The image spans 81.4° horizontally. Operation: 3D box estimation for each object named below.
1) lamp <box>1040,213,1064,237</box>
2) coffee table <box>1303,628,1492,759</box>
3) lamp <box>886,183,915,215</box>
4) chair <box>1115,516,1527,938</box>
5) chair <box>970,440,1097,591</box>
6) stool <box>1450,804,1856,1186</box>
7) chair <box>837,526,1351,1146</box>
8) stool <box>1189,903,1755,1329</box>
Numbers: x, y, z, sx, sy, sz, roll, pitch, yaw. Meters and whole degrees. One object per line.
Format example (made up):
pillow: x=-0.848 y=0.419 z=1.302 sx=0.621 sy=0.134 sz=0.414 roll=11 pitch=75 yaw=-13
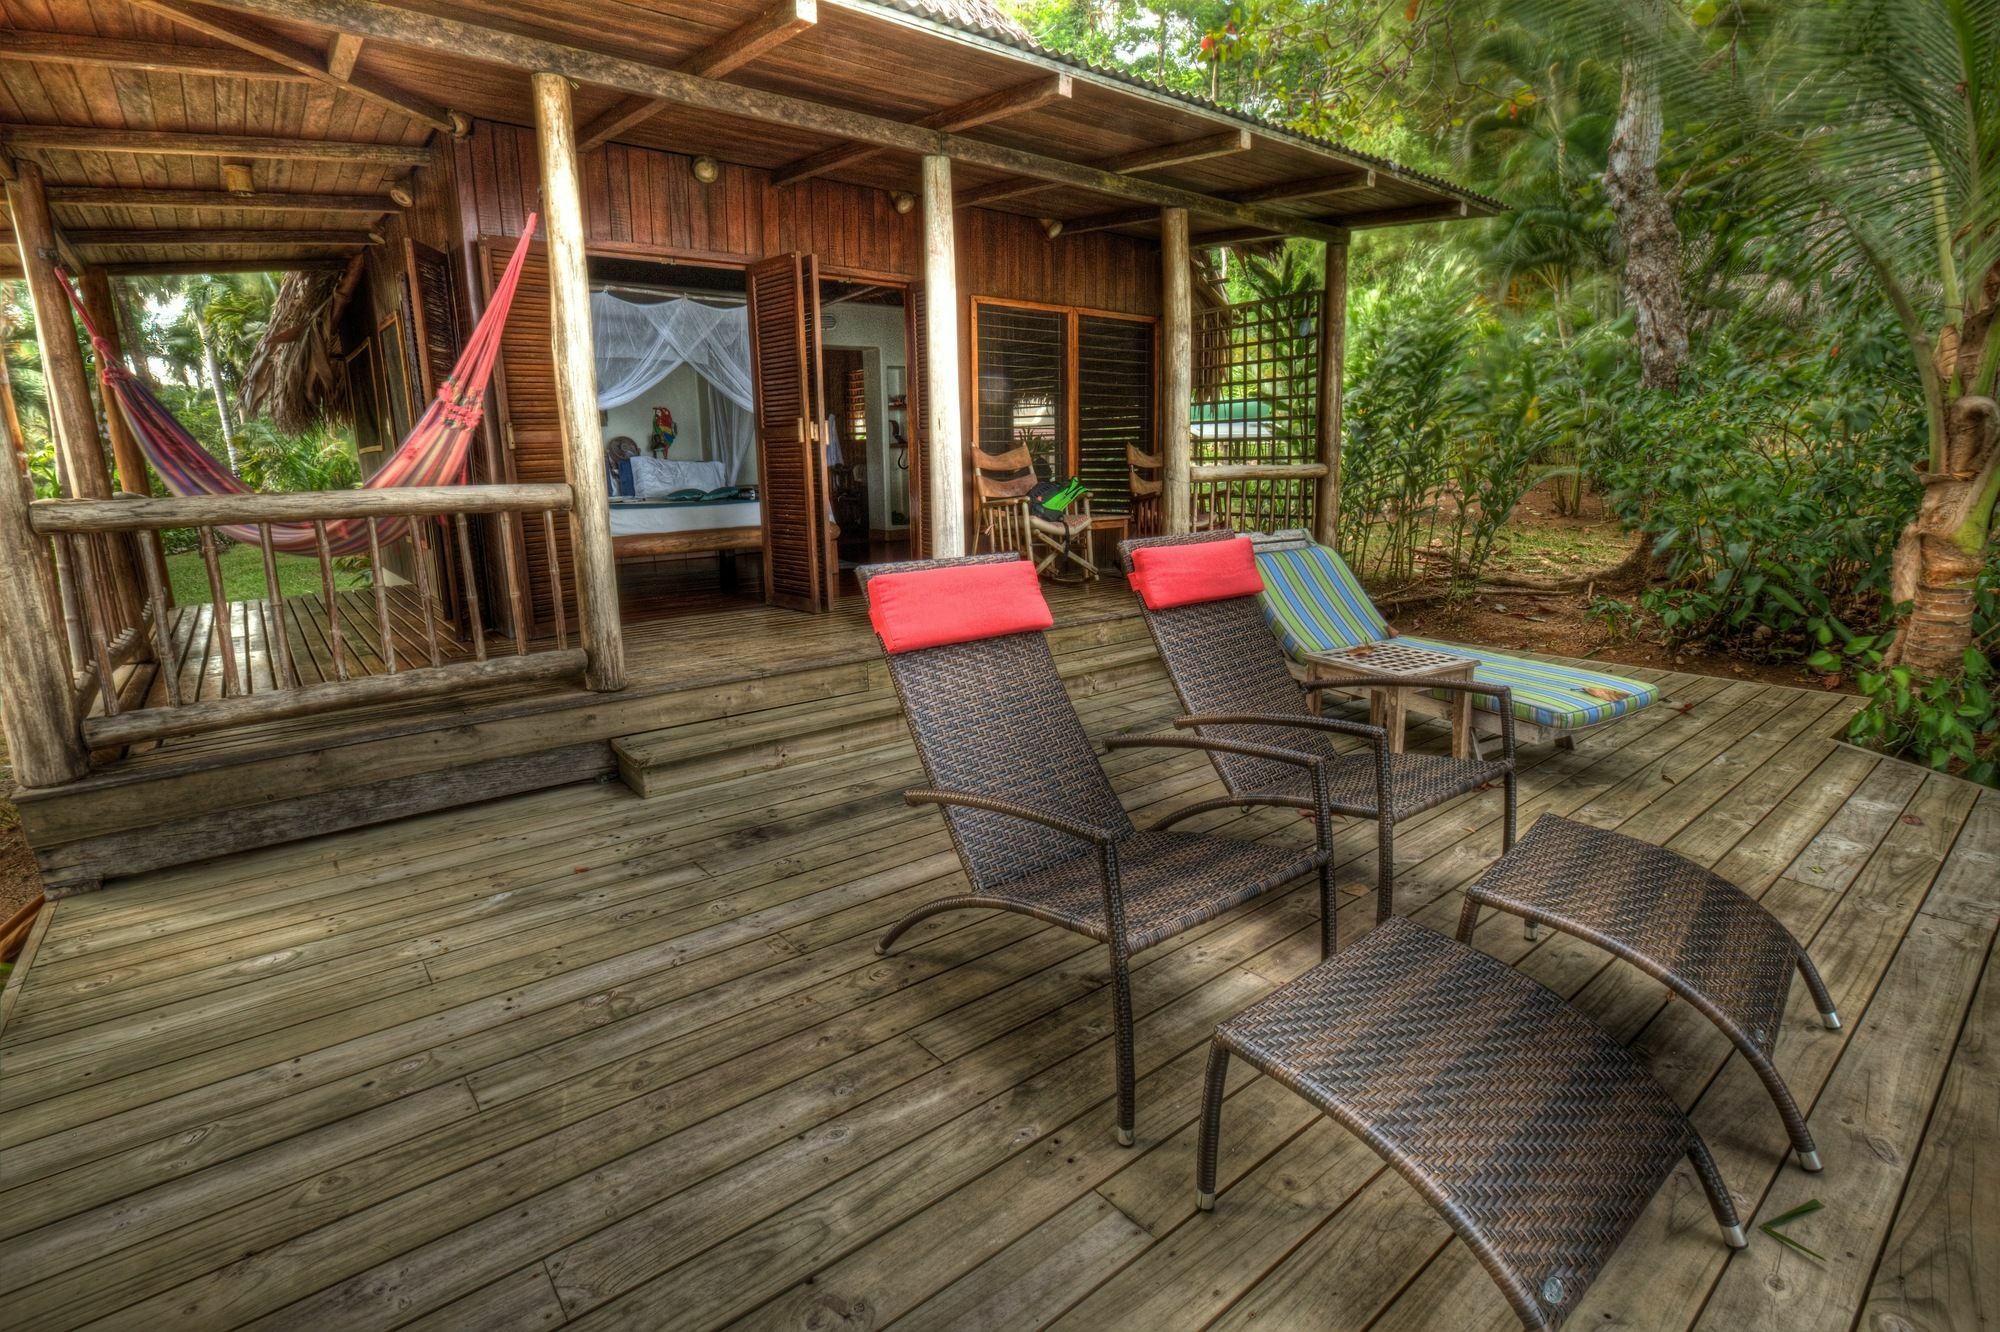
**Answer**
lamp: x=0.447 y=-3.645 z=9.646 sx=0.128 sy=0.151 sz=0.211 roll=9 pitch=17 yaw=43
coffee table: x=1.905 y=0.027 z=5.691 sx=0.705 sy=0.686 sz=0.706 roll=-18 pitch=21 yaw=-41
lamp: x=-0.725 y=-3.486 z=8.682 sx=0.167 sy=0.119 sz=0.147 roll=-7 pitch=7 yaw=-42
chair: x=1.140 y=0.111 z=5.382 sx=1.400 sy=1.783 sz=1.943 roll=-11 pitch=17 yaw=-38
chair: x=0.269 y=-1.270 z=9.458 sx=0.890 sy=1.127 sz=0.900 roll=4 pitch=18 yaw=25
stool: x=2.220 y=1.154 z=4.326 sx=1.266 sy=0.591 sz=0.935 roll=19 pitch=36 yaw=41
chair: x=0.151 y=0.454 z=4.812 sx=1.690 sy=2.146 sz=2.203 roll=-14 pitch=19 yaw=-41
stool: x=1.355 y=1.244 z=3.682 sx=1.067 sy=0.688 sz=1.287 roll=-20 pitch=22 yaw=-35
